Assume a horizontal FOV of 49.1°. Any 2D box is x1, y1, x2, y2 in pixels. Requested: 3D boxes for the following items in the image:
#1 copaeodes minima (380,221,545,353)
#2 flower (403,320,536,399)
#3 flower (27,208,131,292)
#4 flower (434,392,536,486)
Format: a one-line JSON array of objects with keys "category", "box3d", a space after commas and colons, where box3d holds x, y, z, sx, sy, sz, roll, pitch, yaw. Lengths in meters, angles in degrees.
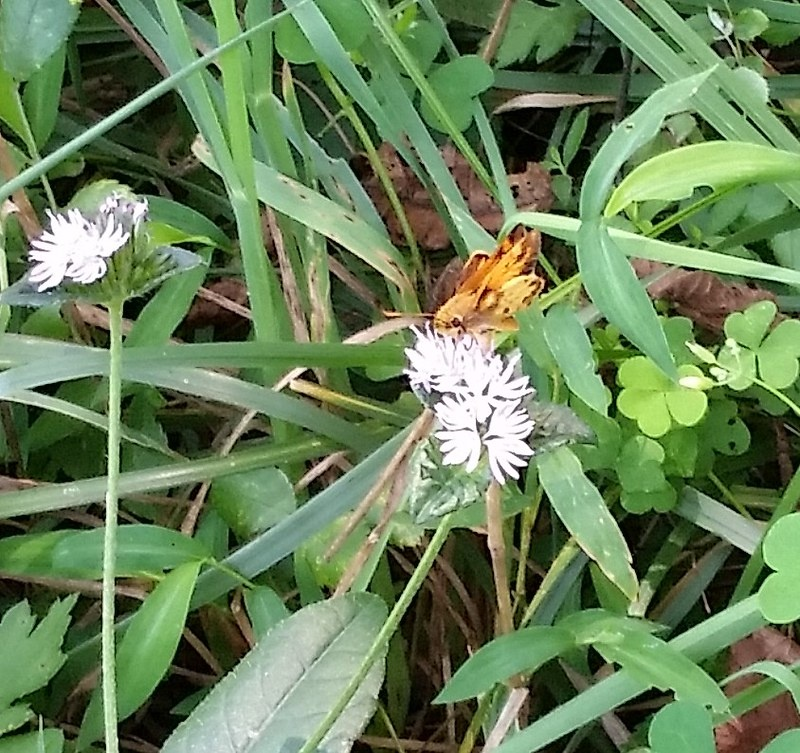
[{"category": "copaeodes minima", "box3d": [0.066, -0.086, 0.946, 0.156, 0.136, 0.072, -29, 22, 4]}, {"category": "flower", "box3d": [0.051, -0.013, 0.746, 0.097, 0.068, 0.126, -12, 7, -2]}, {"category": "flower", "box3d": [-0.296, -0.117, 0.796, 0.099, 0.059, 0.042, -13, 8, -10]}, {"category": "flower", "box3d": [0.068, 0.046, 0.700, 0.079, 0.074, 0.059, -11, 7, 2]}]
